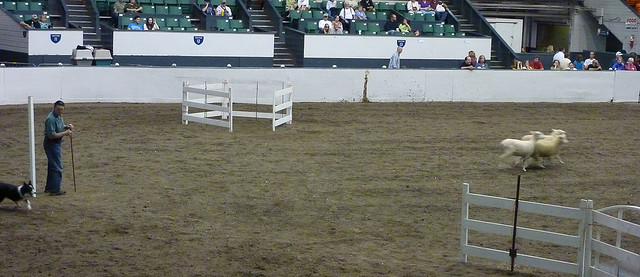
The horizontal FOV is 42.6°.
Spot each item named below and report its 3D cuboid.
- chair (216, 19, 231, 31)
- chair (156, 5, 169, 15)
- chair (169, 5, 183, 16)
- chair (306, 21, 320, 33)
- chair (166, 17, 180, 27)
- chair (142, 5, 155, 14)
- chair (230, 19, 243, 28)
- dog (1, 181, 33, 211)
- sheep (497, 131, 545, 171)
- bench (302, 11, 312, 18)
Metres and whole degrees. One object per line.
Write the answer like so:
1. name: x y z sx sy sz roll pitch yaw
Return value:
1. chair: -6.971 -8.141 58.144 0.918 0.685 0.700 -3 9 -19
2. chair: -11.293 -9.148 58.289 1.172 0.724 0.584 -1 -2 -12
3. chair: -10.342 -9.219 58.378 0.714 0.595 0.674 0 6 -5
4. chair: -0.537 -8.115 58.991 0.963 0.764 0.729 -3 9 -7
5. chair: -10.380 -8.187 57.300 0.911 0.568 0.284 -2 12 -9
6. chair: -12.213 -9.206 57.837 1.031 0.667 0.537 -1 -1 -20
7. chair: -6.062 -8.257 58.261 0.688 0.385 0.656 -2 10 -13
8. dog: -15.397 2.889 41.524 1.546 1.419 0.832 -3 13 -11
9. sheep: 11.298 0.597 44.737 0.838 1.908 2.625 -15 8 -40
10. bench: -0.980 -9.158 59.755 0.829 0.509 0.430 0 -2 -11
